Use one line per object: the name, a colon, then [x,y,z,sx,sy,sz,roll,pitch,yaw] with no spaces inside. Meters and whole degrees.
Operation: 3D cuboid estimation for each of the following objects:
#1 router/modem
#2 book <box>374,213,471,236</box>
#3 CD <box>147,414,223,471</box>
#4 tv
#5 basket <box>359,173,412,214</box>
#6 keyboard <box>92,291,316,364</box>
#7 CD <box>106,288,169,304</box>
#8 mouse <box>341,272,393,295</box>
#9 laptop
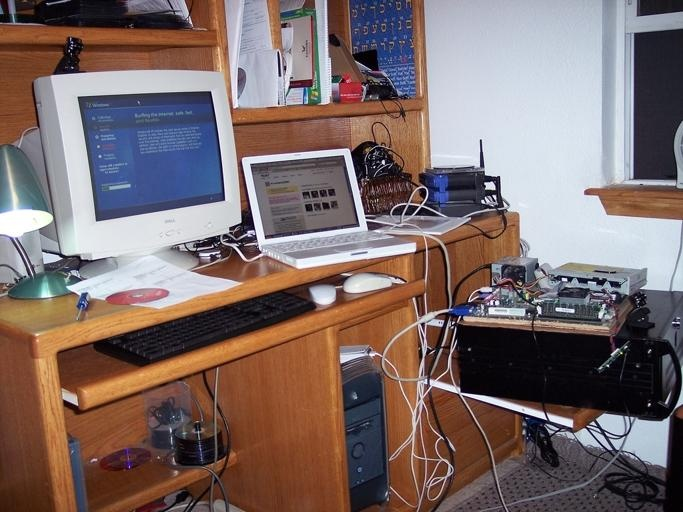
router/modem: [0.436,-0.295,2.112,0.213,0.190,0.143,-3,10,-16]
book: [0.280,-0.107,1.858,0.230,0.034,0.234,8,13,36]
CD: [-0.479,0.589,1.732,0.140,0.130,0.200,-12,13,-41]
tv: [-0.630,-0.260,1.551,0.257,0.481,0.725,18,22,40]
basket: [0.179,-0.246,2.083,0.235,0.120,0.055,-14,20,-35]
keyboard: [-0.336,0.178,1.350,0.195,0.048,0.445,9,17,42]
CD: [-0.469,0.094,1.244,0.134,0.011,0.083,-2,14,9]
mouse: [0.069,0.074,1.570,0.117,0.034,0.060,-5,11,-23]
laptop: [-0.061,-0.145,1.648,0.504,0.315,0.425,-10,17,-35]
